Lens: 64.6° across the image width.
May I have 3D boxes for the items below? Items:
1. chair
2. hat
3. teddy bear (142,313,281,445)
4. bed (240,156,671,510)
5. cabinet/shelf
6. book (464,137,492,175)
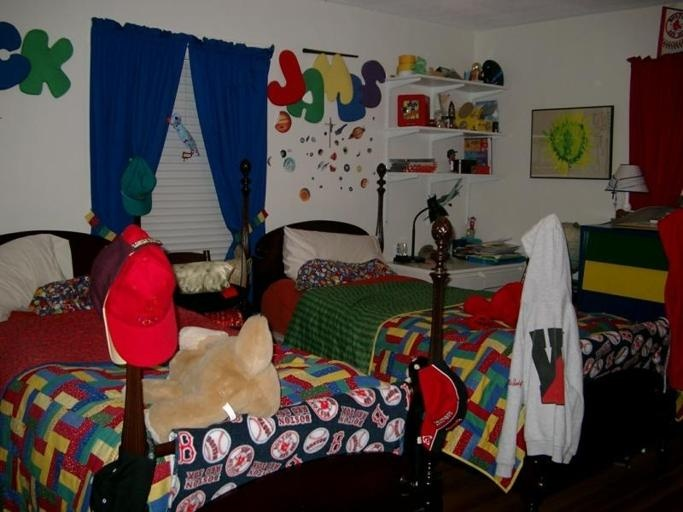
[{"bbox_3d":[-0.971,0.248,3.890,0.479,0.412,0.585,-8,14,-36],"label":"chair"},{"bbox_3d":[-0.713,0.126,1.842,0.249,0.440,0.360,-9,13,-27],"label":"hat"},{"bbox_3d":[-0.486,0.488,2.035,0.438,0.254,0.442,-8,52,-18],"label":"teddy bear"},{"bbox_3d":[1.105,0.288,3.470,1.473,1.060,1.507,-5,7,-35],"label":"bed"},{"bbox_3d":[1.028,-1.296,5.422,0.967,0.820,0.322,-7,10,-36],"label":"cabinet/shelf"},{"bbox_3d":[1.448,-1.050,5.686,0.059,0.519,0.346,-7,10,-42],"label":"book"}]
